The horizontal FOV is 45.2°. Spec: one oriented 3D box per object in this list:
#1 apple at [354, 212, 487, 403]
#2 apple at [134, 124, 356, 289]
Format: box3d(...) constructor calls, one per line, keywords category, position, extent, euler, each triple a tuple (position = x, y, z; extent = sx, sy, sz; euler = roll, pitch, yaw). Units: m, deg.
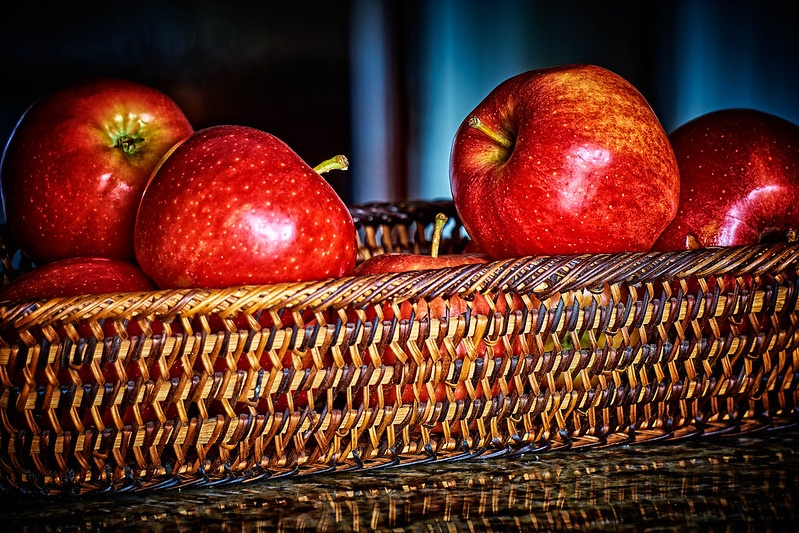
box3d(category="apple", position=(0.026, 0.004, 1.309), extent=(0.144, 0.146, 0.130), euler=(1, -4, -7))
box3d(category="apple", position=(-0.169, -0.048, 1.275), extent=(0.275, 0.209, 0.225), euler=(-5, -32, 11))
